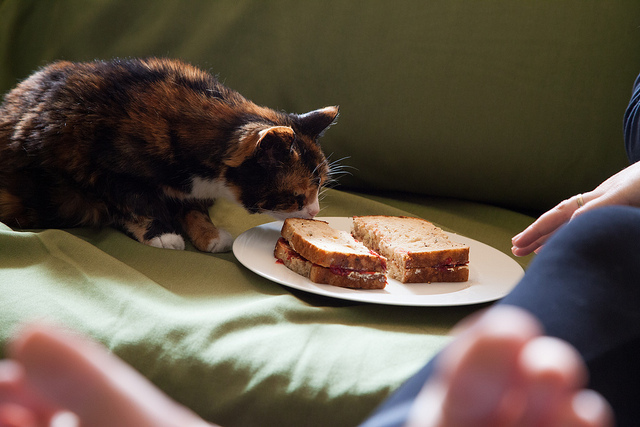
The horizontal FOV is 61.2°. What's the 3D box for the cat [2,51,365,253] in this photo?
[{"bbox_3d":[-0.240,-0.178,1.836,1.337,0.606,0.448,4,1,-4],"label":"cat"}]
